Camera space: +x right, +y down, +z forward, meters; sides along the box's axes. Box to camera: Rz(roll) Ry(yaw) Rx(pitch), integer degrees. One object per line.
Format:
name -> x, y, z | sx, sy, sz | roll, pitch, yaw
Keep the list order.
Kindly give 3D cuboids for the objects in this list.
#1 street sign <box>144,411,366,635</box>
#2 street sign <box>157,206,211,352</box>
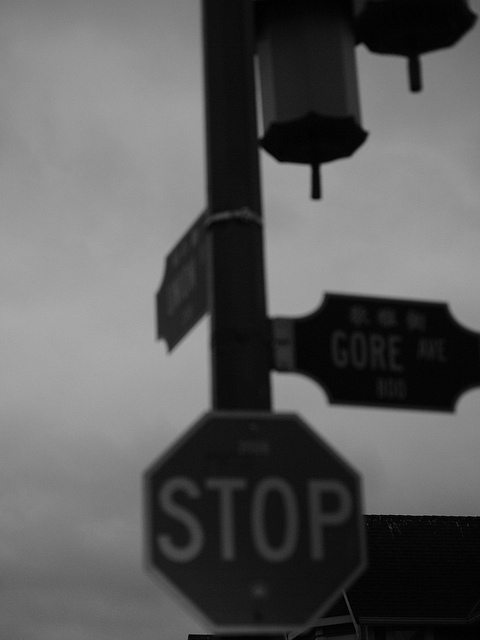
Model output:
street sign -> 0.037, 0.616, 4.511 | 0.724, 0.116, 0.949 | 6, 60, -12
street sign -> -0.191, -0.142, 5.381 | 0.015, 0.400, 0.536 | 5, -19, -20
